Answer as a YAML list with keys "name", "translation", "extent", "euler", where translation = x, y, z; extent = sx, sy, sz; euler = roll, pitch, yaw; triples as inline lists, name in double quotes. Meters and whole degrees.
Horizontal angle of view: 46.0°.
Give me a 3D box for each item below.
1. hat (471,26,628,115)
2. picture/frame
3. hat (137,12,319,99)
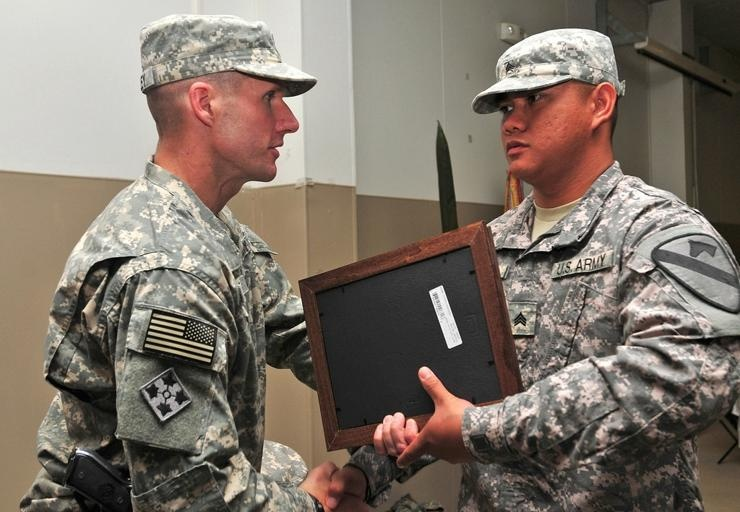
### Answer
- name: "hat"
  translation: [0.632, -0.650, 3.057]
  extent: [0.389, 0.189, 0.289]
  euler: [-1, -9, -20]
- name: "picture/frame"
  translation: [0.145, 0.307, 2.954]
  extent: [0.859, 0.773, 0.089]
  euler: [-21, -15, 20]
- name: "hat"
  translation: [-0.501, -0.635, 2.918]
  extent: [0.447, 0.207, 0.298]
  euler: [-1, 7, -8]
